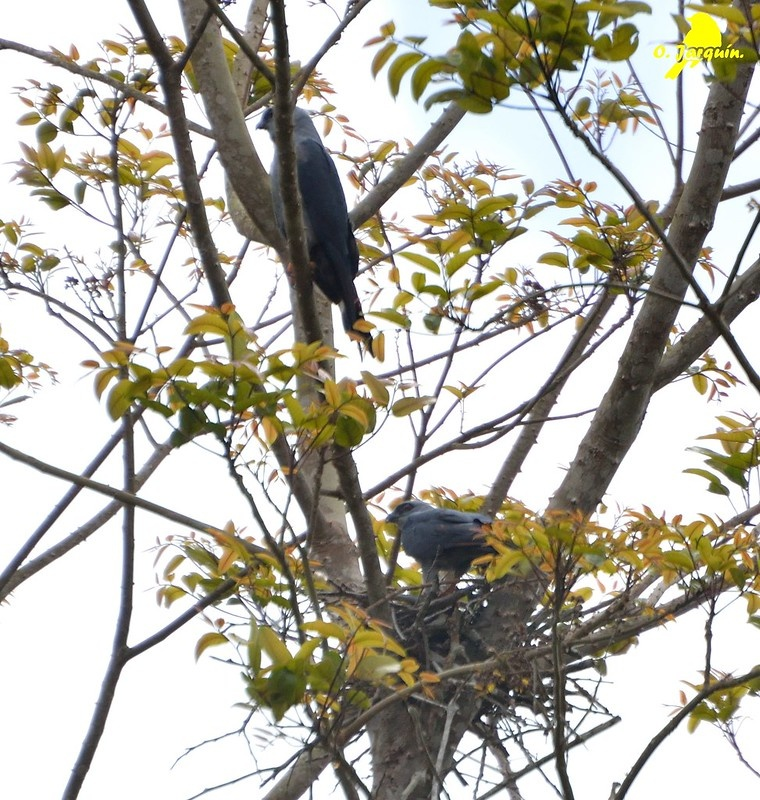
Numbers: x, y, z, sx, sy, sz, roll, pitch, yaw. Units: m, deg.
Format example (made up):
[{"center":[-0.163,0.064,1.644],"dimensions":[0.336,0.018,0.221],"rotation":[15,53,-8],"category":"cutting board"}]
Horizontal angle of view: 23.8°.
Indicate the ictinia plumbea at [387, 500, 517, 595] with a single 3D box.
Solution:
[{"center":[0.268,0.551,7.030],"dimensions":[0.518,0.385,0.264],"rotation":[-10,-18,30],"category":"ictinia plumbea"}]
